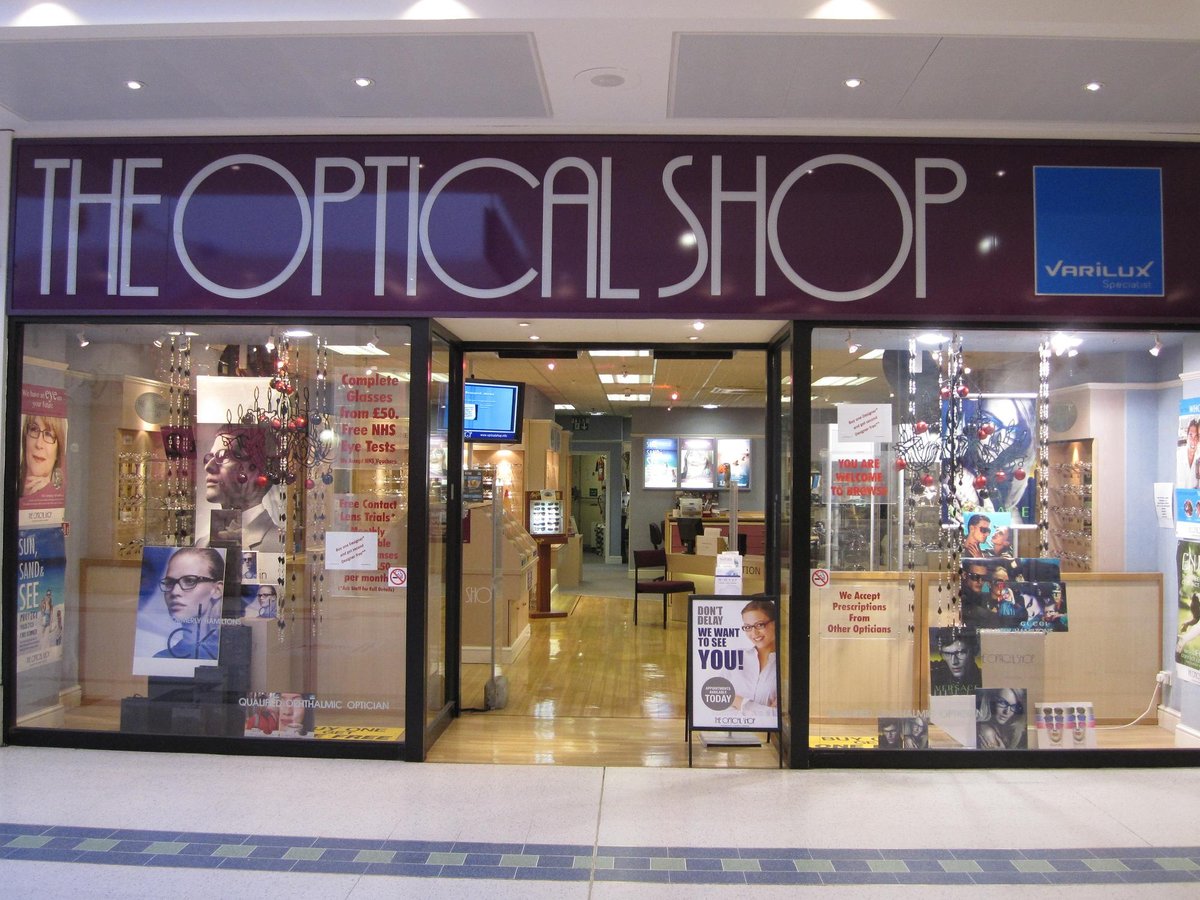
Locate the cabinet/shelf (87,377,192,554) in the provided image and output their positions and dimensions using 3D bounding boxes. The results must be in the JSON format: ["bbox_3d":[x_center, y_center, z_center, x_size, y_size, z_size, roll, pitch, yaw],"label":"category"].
[{"bbox_3d":[-3.060,0.169,7.452,0.949,1.001,0.929,4,-10,-33],"label":"cabinet/shelf"}]

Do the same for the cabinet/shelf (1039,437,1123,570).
[{"bbox_3d":[3.189,0.360,7.120,0.474,0.834,0.240,2,13,5],"label":"cabinet/shelf"}]

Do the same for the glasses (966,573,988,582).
[{"bbox_3d":[2.482,0.846,7.130,0.069,0.035,0.096,5,-7,-31],"label":"glasses"}]
